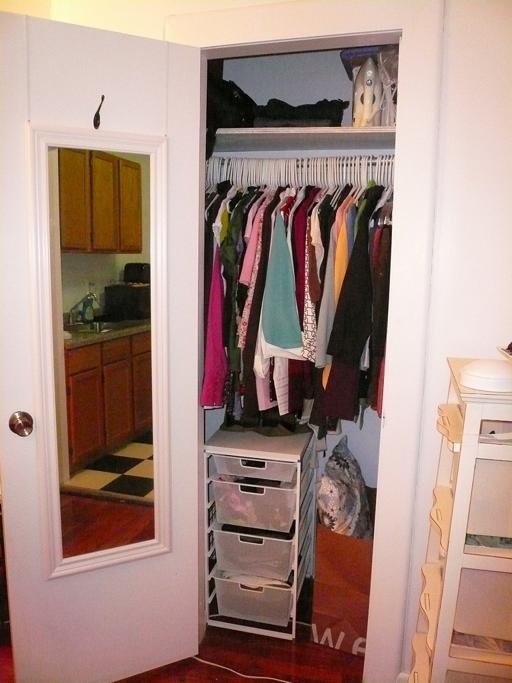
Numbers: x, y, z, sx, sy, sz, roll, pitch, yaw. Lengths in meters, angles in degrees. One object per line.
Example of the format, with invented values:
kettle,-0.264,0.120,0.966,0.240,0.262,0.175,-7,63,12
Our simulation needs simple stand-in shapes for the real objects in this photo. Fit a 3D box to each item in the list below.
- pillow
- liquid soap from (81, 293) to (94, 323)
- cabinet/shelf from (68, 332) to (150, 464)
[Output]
pillow,0.323,0.545,2.090,0.172,0.163,0.406,18,41,-7
liquid soap,-0.492,-0.096,1.645,0.033,0.080,0.010,1,8,3
cabinet/shelf,-0.463,0.161,1.731,0.181,0.419,0.290,8,12,44
